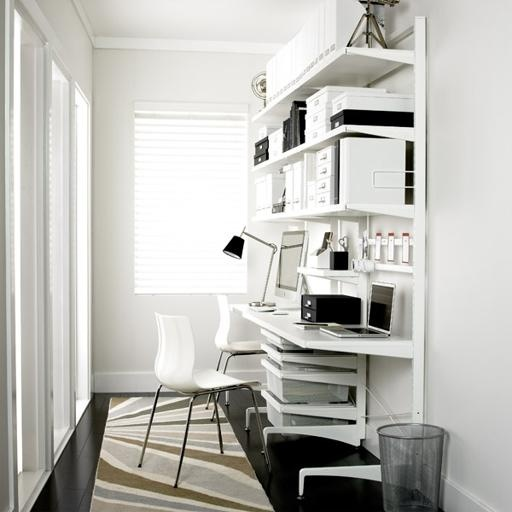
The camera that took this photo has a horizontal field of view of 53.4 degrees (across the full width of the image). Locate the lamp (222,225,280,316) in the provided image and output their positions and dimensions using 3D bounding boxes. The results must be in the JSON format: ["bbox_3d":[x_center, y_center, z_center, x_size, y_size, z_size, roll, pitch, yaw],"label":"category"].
[{"bbox_3d":[-0.047,0.090,3.749,0.381,0.631,0.172,7,25,10],"label":"lamp"}]

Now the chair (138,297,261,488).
[{"bbox_3d":[-0.376,0.691,2.974,0.710,1.284,0.629,0,-1,-23],"label":"chair"}]

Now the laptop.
[{"bbox_3d":[0.495,0.262,2.506,0.337,0.253,0.298,0,-2,-16],"label":"laptop"}]

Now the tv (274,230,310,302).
[{"bbox_3d":[0.273,0.060,3.484,0.158,0.494,0.491,1,1,-16],"label":"tv"}]
